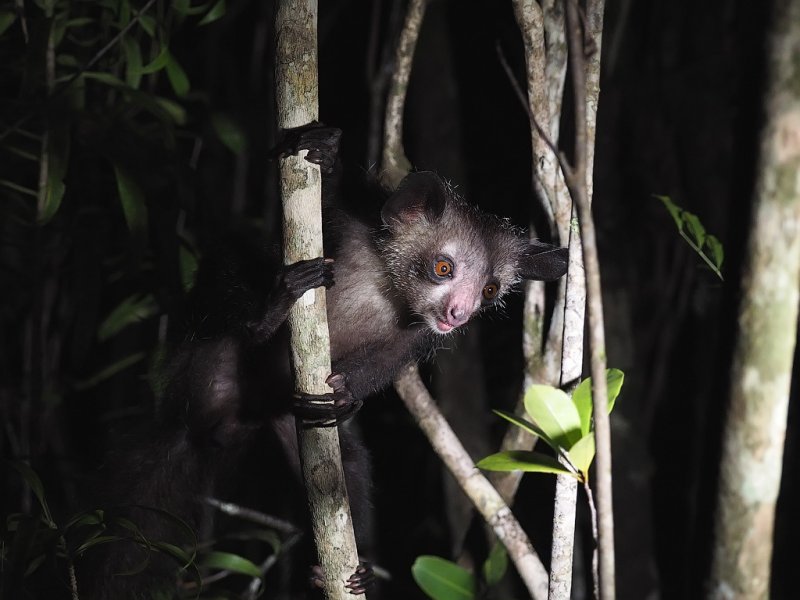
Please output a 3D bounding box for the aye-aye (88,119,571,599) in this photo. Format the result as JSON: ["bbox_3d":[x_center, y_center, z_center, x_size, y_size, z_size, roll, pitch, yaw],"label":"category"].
[{"bbox_3d":[-0.203,0.190,2.885,1.147,1.185,0.613,0,-1,-12],"label":"aye-aye"}]
